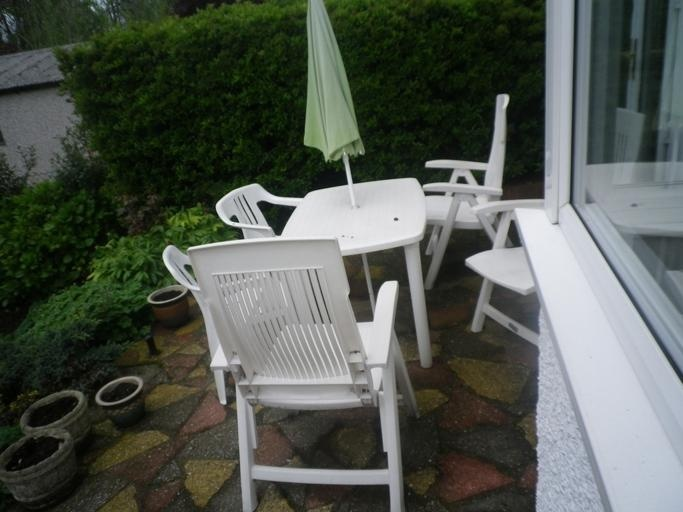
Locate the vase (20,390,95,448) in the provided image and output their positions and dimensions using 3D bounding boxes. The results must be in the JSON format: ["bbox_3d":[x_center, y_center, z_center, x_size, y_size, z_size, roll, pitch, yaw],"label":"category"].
[{"bbox_3d":[-1.705,1.039,3.233,0.299,0.230,0.307,3,11,-31],"label":"vase"}]

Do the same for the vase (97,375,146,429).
[{"bbox_3d":[-1.382,0.935,3.345,0.271,0.241,0.262,-22,30,-27],"label":"vase"}]

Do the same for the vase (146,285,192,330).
[{"bbox_3d":[-1.398,0.406,4.308,0.309,0.267,0.351,-10,38,-3],"label":"vase"}]

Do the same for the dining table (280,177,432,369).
[{"bbox_3d":[0.263,0.347,3.912,0.946,0.859,1.599,-9,34,20],"label":"dining table"}]
